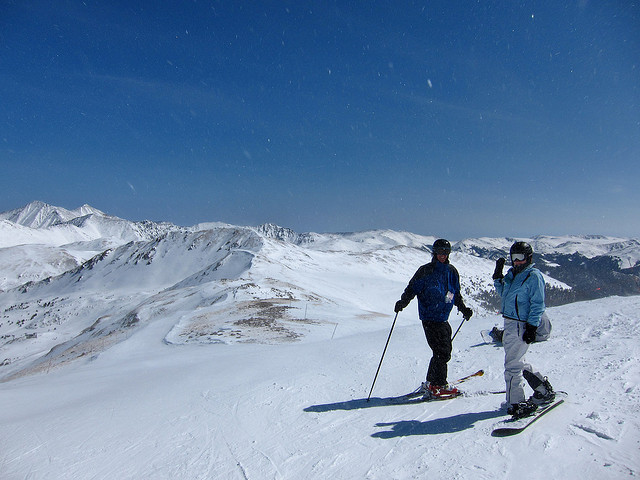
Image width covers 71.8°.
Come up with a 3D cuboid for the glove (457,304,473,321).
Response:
[{"bbox_3d":[3.608,1.753,10.872,0.403,0.176,0.708,-9,-33,33],"label":"glove"}]

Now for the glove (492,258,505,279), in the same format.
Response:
[{"bbox_3d":[4.223,0.665,10.436,0.289,0.487,0.662,-6,-4,22],"label":"glove"}]

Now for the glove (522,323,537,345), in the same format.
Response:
[{"bbox_3d":[4.568,2.034,9.646,0.319,0.420,0.152,2,-8,42],"label":"glove"}]

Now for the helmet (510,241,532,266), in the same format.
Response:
[{"bbox_3d":[4.552,0.286,9.949,0.626,0.571,0.464,5,-3,-1],"label":"helmet"}]

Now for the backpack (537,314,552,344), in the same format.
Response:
[{"bbox_3d":[4.997,1.974,9.860,0.280,0.631,0.540,-6,-4,29],"label":"backpack"}]

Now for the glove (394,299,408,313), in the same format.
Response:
[{"bbox_3d":[2.005,1.621,10.947,0.290,0.347,0.829,-5,-3,8],"label":"glove"}]
